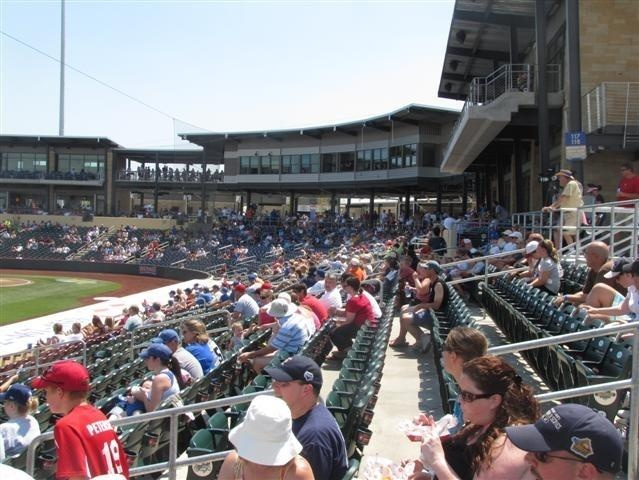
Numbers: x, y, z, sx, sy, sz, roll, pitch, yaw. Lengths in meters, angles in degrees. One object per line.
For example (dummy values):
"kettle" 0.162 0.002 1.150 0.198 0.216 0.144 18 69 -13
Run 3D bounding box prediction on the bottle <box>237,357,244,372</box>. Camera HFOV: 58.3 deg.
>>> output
"bottle" -1.033 1.618 7.471 0.043 0.136 0.100 9 2 10

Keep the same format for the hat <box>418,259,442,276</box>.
"hat" 1.910 0.460 9.964 0.526 0.258 0.322 12 -6 1

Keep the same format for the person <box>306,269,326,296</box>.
"person" -0.078 0.947 13.018 0.327 0.733 0.249 27 28 -19

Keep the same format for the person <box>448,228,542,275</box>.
"person" 3.849 0.410 12.784 1.376 0.566 1.309 -7 3 -12

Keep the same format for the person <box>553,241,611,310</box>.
"person" 3.400 0.530 7.313 0.736 0.871 0.689 -5 -5 -9

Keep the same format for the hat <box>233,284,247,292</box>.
"hat" -1.616 0.967 11.842 0.206 0.096 0.151 2 15 31

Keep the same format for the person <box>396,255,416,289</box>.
"person" 1.786 0.691 11.823 0.546 0.763 0.392 2 14 8

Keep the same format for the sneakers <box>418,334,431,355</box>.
"sneakers" 1.582 1.554 8.636 0.144 0.324 0.101 17 47 4

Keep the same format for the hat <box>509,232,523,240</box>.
"hat" 4.581 -0.124 13.340 0.192 0.150 0.293 2 -13 46

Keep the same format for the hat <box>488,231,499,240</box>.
"hat" 5.210 -0.159 17.116 0.275 0.254 0.220 19 4 29

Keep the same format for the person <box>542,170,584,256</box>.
"person" 4.821 -0.547 11.523 0.922 1.678 0.926 3 -1 -36

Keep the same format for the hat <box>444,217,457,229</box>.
"hat" 4.127 -0.541 17.790 0.414 0.383 0.454 7 6 -14

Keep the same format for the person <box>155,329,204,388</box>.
"person" -1.765 1.519 6.824 0.505 0.851 0.315 9 -6 -25

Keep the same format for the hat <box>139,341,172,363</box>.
"hat" -1.766 1.194 6.183 0.308 0.164 0.192 4 -5 0

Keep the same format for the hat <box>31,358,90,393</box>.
"hat" -2.008 1.073 4.544 0.368 0.201 0.248 15 -4 4

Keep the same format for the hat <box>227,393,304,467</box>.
"hat" -0.326 1.206 3.629 0.414 0.232 0.460 6 4 -17

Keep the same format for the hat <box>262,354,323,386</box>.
"hat" -0.181 1.021 4.516 0.376 0.140 0.232 9 -6 -4

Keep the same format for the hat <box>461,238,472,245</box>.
"hat" 4.040 0.008 15.762 0.254 0.174 0.369 4 -2 13

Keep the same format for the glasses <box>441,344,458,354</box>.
"glasses" 1.006 0.841 4.458 0.089 0.027 0.086 6 28 -29

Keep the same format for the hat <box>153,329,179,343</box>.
"hat" -1.799 1.111 6.743 0.229 0.104 0.154 -1 1 1

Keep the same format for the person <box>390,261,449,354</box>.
"person" 1.616 1.093 9.308 0.867 1.386 0.575 11 -33 8
